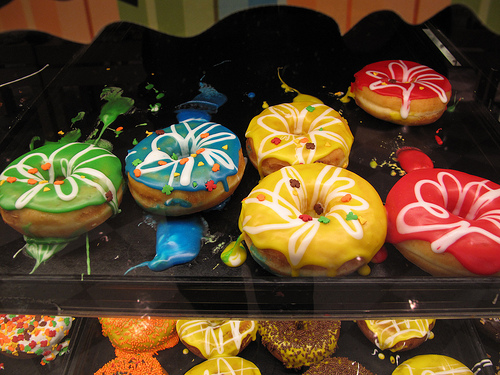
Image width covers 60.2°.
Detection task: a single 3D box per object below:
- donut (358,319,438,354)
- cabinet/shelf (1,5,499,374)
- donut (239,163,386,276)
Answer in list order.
[{"bbox_3d":[0.893,0.836,2.591,0.438,0.137,0.456,-10,-5,22],"label":"donut"},{"bbox_3d":[-0.205,-0.166,2.185,1.850,0.423,1.654,0,43,0],"label":"cabinet/shelf"},{"bbox_3d":[0.261,0.133,1.762,0.541,0.183,0.538,26,46,28],"label":"donut"}]
